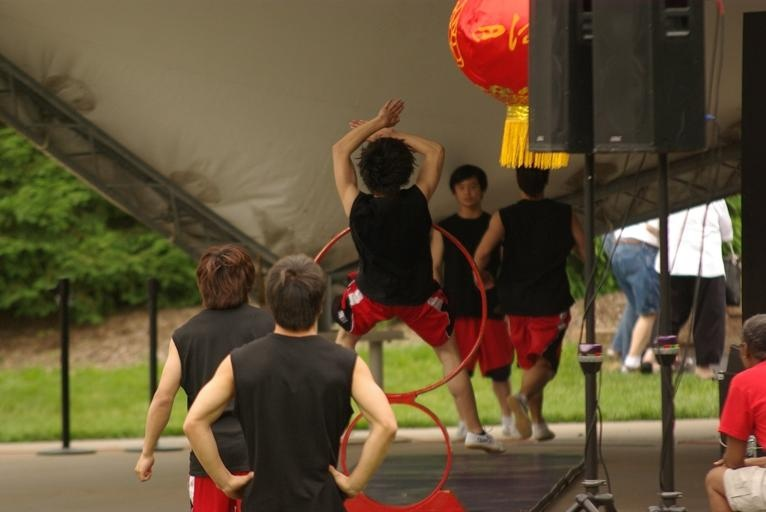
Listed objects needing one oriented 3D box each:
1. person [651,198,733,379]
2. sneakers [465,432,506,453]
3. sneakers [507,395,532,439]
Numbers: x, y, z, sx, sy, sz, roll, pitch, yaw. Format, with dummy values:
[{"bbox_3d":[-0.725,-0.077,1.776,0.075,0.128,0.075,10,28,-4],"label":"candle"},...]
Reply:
[{"bbox_3d":[2.770,0.313,12.601,0.531,1.463,1.422,-3,-5,11],"label":"person"},{"bbox_3d":[0.761,1.389,11.038,0.353,0.143,0.124,7,-5,-39],"label":"sneakers"},{"bbox_3d":[1.045,1.243,11.303,0.151,0.422,0.173,2,29,27],"label":"sneakers"}]
